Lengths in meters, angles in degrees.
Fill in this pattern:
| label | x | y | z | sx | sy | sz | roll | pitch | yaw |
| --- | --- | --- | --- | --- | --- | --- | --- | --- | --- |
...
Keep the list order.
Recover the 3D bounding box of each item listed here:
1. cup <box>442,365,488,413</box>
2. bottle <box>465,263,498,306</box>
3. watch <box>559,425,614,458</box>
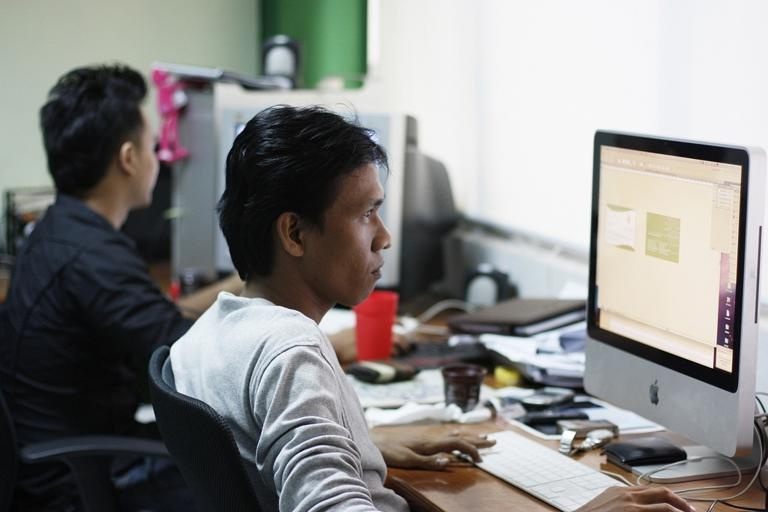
| label | x | y | z | sx | sy | sz | roll | pitch | yaw |
| --- | --- | --- | --- | --- | --- | --- | --- | --- | --- |
| cup | 0.200 | 0.331 | 1.738 | 0.106 | 0.115 | 0.106 | 1 | 8 | 0 |
| bottle | 0.366 | 0.112 | 2.493 | 0.129 | 0.187 | 0.023 | 10 | 17 | 35 |
| watch | 0.456 | 0.419 | 1.526 | 0.088 | 0.033 | 0.062 | -9 | 8 | -14 |
